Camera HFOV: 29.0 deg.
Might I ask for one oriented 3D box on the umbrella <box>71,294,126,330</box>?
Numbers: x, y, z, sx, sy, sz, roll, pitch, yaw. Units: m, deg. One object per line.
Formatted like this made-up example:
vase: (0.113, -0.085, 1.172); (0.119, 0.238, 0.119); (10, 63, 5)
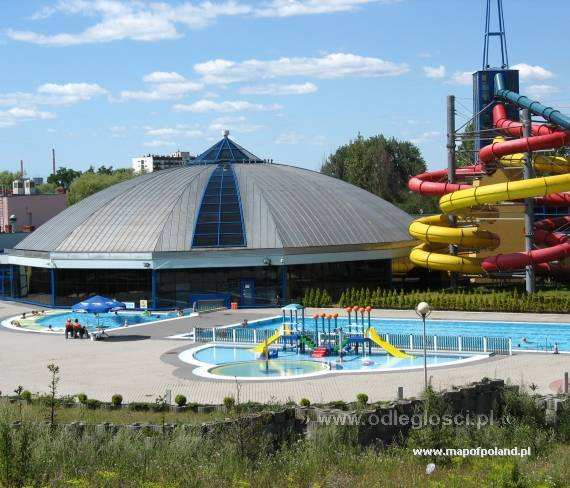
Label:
umbrella: (-9.680, 3.968, 57.602); (2.356, 1.605, 2.346); (-2, 9, 1)

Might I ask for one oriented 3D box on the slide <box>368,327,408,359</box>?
slide: (4.944, 4.596, 49.978); (2.438, 0.948, 0.808); (21, 10, 40)

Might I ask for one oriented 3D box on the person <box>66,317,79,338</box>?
person: (-10.694, 4.359, 56.574); (0.856, 1.086, 0.985); (2, -8, -26)

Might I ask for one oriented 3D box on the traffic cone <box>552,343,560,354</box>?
traffic cone: (12.121, 4.642, 48.707); (0.442, 0.480, 0.436); (0, -4, -6)
